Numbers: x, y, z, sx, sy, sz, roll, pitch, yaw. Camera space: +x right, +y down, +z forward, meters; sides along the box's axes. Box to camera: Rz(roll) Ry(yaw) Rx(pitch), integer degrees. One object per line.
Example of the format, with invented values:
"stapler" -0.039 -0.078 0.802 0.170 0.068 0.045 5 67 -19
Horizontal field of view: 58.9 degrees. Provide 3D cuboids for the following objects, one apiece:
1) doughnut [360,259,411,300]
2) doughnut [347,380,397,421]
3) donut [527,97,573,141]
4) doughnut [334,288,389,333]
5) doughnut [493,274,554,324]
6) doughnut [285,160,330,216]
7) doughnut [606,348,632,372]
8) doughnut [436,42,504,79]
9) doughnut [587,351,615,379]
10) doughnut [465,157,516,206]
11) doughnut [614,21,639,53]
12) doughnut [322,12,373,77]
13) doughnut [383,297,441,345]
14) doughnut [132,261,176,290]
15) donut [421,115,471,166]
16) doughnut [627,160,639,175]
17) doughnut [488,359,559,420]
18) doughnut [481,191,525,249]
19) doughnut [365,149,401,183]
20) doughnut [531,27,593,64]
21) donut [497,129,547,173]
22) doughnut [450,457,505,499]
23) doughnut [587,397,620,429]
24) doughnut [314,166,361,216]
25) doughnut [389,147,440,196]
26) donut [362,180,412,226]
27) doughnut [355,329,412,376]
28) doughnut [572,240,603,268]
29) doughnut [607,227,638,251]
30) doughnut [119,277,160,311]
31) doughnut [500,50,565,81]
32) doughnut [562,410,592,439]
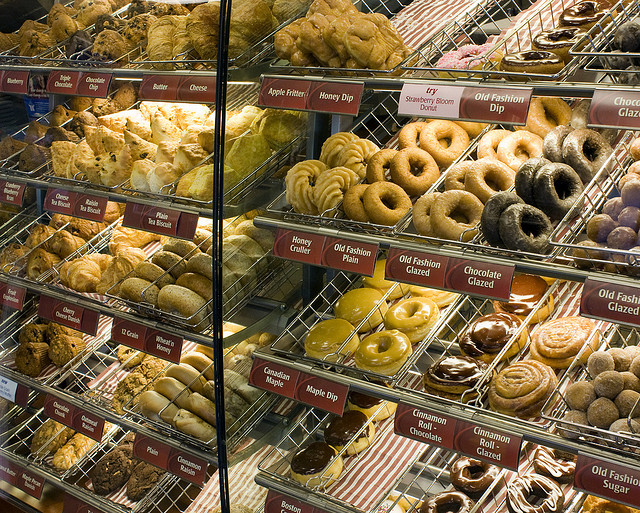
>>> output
"doughnut" 0.266 0.106 2.342 0.182 0.073 0.170 9 31 15
"doughnut" 0.166 0.610 2.275 0.175 0.069 0.163 -9 9 -28
"donut" 0.813 -0.500 2.020 0.161 0.130 0.081 23 -9 16
"doughnut" 0.158 0.203 2.252 0.190 0.081 0.174 -3 30 5
"doughnut" 0.752 0.149 2.081 0.216 0.087 0.199 2 33 9
"doughnut" -0.059 -0.263 2.131 0.190 0.188 0.072 -9 -41 -4
"doughnut" 0.901 0.313 1.729 0.069 0.033 0.063 -5 26 -11
"doughnut" 0.526 -0.648 1.878 0.151 0.147 0.058 -16 -60 47
"doughnut" 0.835 0.322 1.699 0.080 0.083 0.074 1 -13 -3
"doughnut" 0.596 -0.265 1.930 0.178 0.072 0.171 51 -25 43
"doughnut" 0.888 -0.634 1.645 0.087 0.078 0.104 15 32 34
"doughnut" 0.066 -0.724 1.940 0.083 0.197 0.211 -24 13 -25
"doughnut" 0.350 0.237 2.191 0.210 0.211 0.075 2 -56 44
"doughnut" -0.680 0.083 2.301 0.129 0.039 0.121 27 -3 -4
"donut" 0.454 -0.435 2.138 0.214 0.188 0.064 -5 -26 -18
"doughnut" 0.947 -0.269 1.714 0.015 0.035 0.044 29 -8 -7
"doughnut" 0.653 0.412 1.833 0.225 0.246 0.084 -17 -64 32
"doughnut" 0.542 -0.112 1.739 0.173 0.150 0.044 6 -5 -24
"doughnut" 0.223 -0.328 2.085 0.127 0.116 0.043 25 17 30
"doughnut" 0.740 -0.660 1.739 0.156 0.172 0.053 50 -19 52
"donut" 0.707 -0.373 2.013 0.091 0.143 0.130 33 -10 -36
"doughnut" 0.549 0.801 2.061 0.157 0.116 0.096 21 -9 30
"doughnut" 0.802 0.449 1.615 0.084 0.091 0.079 9 -36 7
"doughnut" 0.045 -0.246 2.035 0.153 0.162 0.049 -8 -29 14
"doughnut" 0.336 -0.303 2.023 0.191 0.166 0.058 -5 -21 -12
"donut" 0.228 -0.182 1.964 0.168 0.148 0.074 25 -8 5
"doughnut" 0.232 0.351 2.083 0.219 0.073 0.206 -21 26 -7
"doughnut" 0.761 -0.009 1.637 0.049 0.065 0.096 33 -11 -39
"doughnut" 0.838 -0.046 1.583 0.068 0.032 0.063 -6 13 -17
"doughnut" -0.715 0.143 2.306 0.167 0.075 0.125 27 21 28
"doughnut" 0.625 -0.573 1.679 0.143 0.046 0.130 -3 25 -2
"doughnut" 0.740 0.488 1.644 0.069 0.038 0.072 -3 28 0
